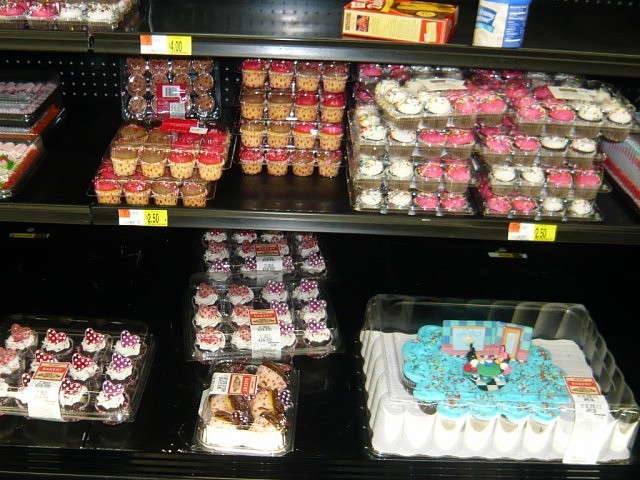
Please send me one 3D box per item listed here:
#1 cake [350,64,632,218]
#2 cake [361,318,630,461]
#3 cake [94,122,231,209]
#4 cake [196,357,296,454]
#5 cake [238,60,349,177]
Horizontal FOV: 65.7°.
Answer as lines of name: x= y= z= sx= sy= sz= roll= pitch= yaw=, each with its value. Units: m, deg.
cake: x=0.717 y=-0.443 z=2.168 sx=1.149 sy=0.426 sz=0.639 roll=3 pitch=41 yaw=0
cake: x=0.791 y=0.706 z=2.179 sx=1.060 sy=0.224 sz=0.584 roll=2 pitch=40 yaw=1
cake: x=-0.673 y=-0.319 z=2.199 sx=0.480 sy=0.129 sz=0.432 roll=3 pitch=37 yaw=1
cake: x=-0.325 y=0.755 z=2.294 sx=0.460 sy=0.139 sz=0.439 roll=9 pitch=56 yaw=6
cake: x=-0.130 y=-0.594 z=2.346 sx=0.501 sy=0.409 sz=0.495 roll=2 pitch=41 yaw=-2
